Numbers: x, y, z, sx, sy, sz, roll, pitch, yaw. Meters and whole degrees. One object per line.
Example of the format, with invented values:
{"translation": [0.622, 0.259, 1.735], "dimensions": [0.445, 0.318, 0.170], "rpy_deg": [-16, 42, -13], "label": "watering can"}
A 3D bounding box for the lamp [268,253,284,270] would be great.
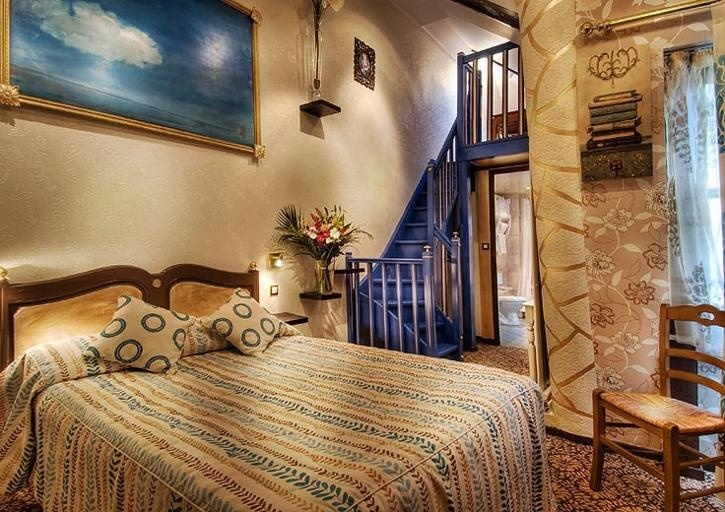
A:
{"translation": [-0.813, 0.044, 4.621], "dimensions": [0.130, 0.143, 0.147], "rpy_deg": [-1, -2, -34], "label": "lamp"}

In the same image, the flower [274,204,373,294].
{"translation": [-0.413, -0.109, 5.005], "dimensions": [0.836, 0.770, 0.878], "rpy_deg": [1, 3, 19], "label": "flower"}
